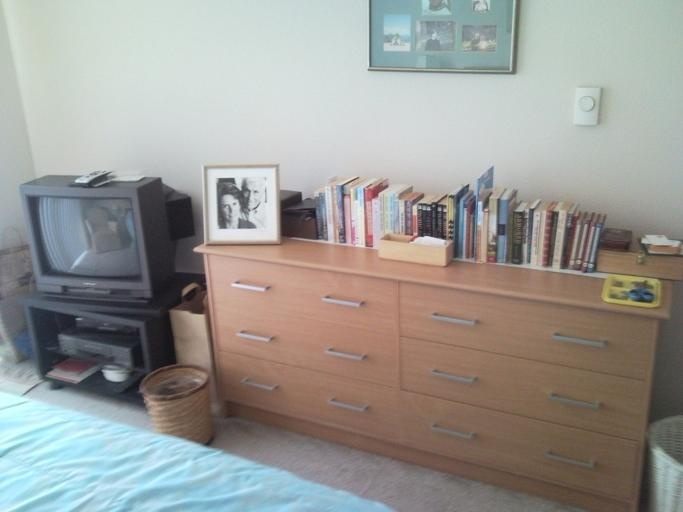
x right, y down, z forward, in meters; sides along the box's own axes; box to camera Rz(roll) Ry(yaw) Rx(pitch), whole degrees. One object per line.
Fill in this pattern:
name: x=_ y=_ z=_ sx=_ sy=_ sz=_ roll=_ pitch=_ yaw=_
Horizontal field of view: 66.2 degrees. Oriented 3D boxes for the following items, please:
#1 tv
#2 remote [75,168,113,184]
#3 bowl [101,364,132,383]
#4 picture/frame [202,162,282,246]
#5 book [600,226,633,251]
tv: x=-1.389 y=-0.115 z=2.996 sx=0.731 sy=0.662 sz=0.292 roll=3 pitch=17 yaw=14
remote: x=-1.441 y=-0.471 z=3.052 sx=0.165 sy=0.060 sz=0.274 roll=5 pitch=19 yaw=17
bowl: x=-1.351 y=0.680 z=3.135 sx=0.167 sy=0.055 sz=0.142 roll=7 pitch=8 yaw=19
picture/frame: x=-0.500 y=-0.262 z=2.629 sx=0.493 sy=0.410 sz=0.031 roll=-1 pitch=11 yaw=3
book: x=1.187 y=-0.072 z=2.251 sx=0.117 sy=0.066 sz=0.164 roll=8 pitch=17 yaw=29
